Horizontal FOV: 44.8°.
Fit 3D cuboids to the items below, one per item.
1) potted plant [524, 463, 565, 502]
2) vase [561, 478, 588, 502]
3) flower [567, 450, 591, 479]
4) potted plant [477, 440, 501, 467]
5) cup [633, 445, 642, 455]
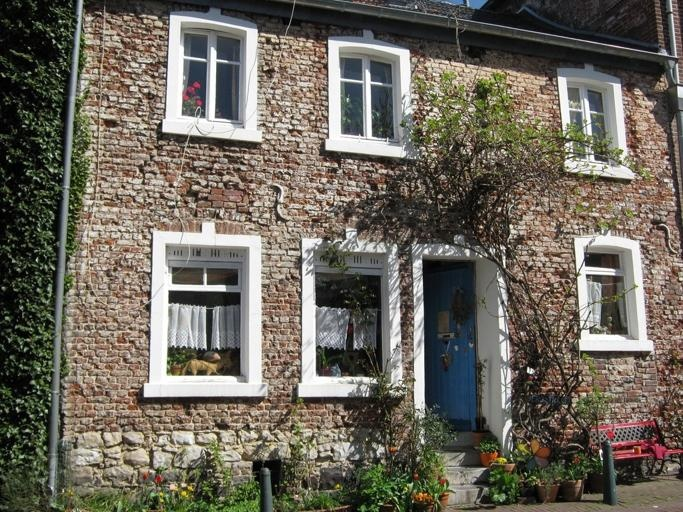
[{"bbox_3d":[3.520,3.986,14.488,0.566,0.700,0.608,2,-17,-2],"label":"potted plant"},{"bbox_3d":[4.013,4.068,14.334,0.413,0.350,0.345,0,-8,0],"label":"vase"},{"bbox_3d":[4.201,3.734,14.742,0.421,0.449,0.838,-3,-9,18],"label":"flower"},{"bbox_3d":[2.665,3.563,14.897,0.342,0.453,0.398,-4,-10,23],"label":"potted plant"},{"bbox_3d":[5.459,3.603,15.258,0.111,0.102,0.120,1,-7,0],"label":"cup"}]
